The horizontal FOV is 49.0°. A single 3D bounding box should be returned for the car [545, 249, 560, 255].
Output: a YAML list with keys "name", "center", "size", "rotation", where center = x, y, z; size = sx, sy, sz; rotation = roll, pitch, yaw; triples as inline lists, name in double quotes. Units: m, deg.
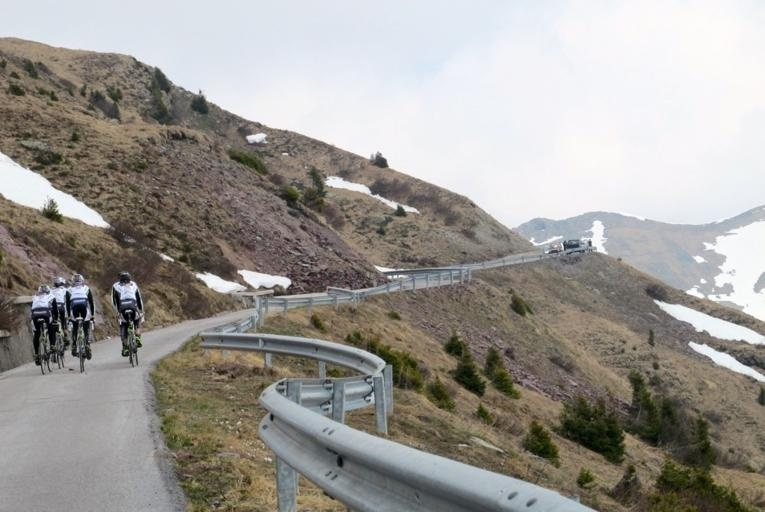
- name: "car"
  center: [29.830, -0.565, 147.015]
  size: [1.187, 1.359, 3.388]
  rotation: [0, -10, 39]
